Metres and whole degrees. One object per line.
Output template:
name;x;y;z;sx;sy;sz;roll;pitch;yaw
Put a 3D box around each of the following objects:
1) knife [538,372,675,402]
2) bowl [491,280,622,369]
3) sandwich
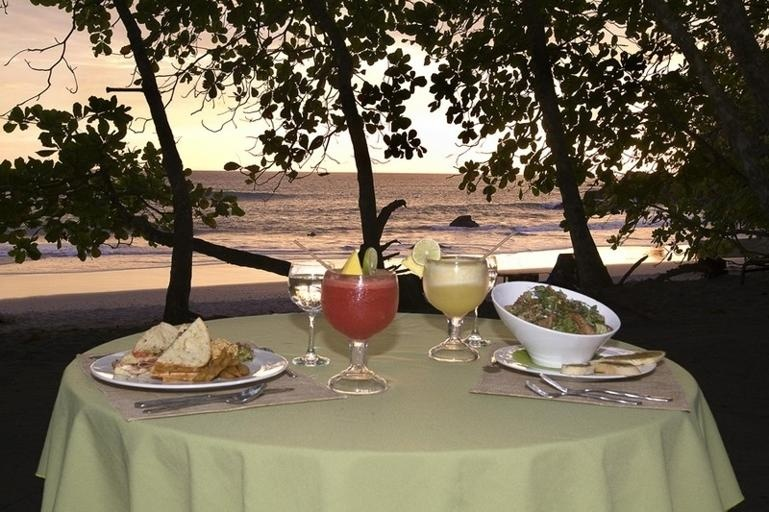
knife;0.731;0.440;1.932;0.451;0.066;0.051;2;8;12
bowl;0.606;0.182;2.175;0.373;0.391;0.190;-5;-22;-13
sandwich;-0.738;0.336;1.989;0.252;0.077;0.215;-8;34;-5
